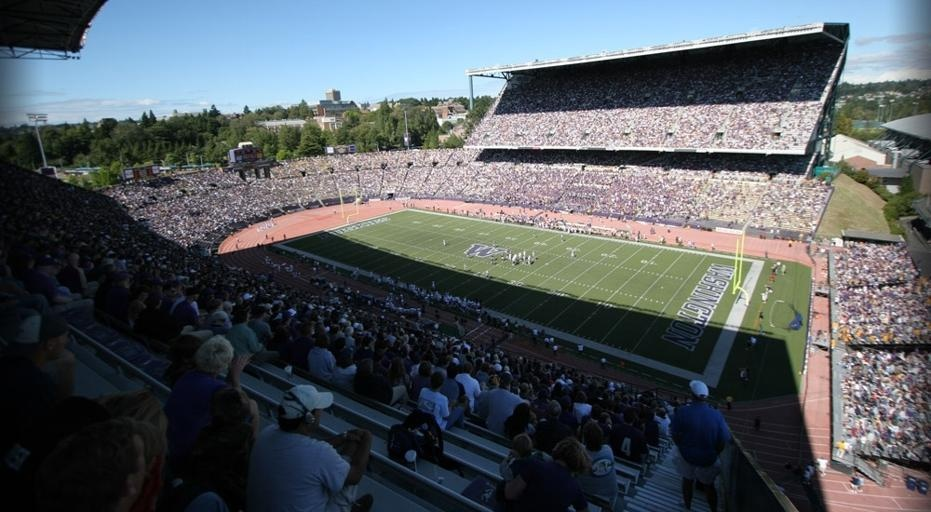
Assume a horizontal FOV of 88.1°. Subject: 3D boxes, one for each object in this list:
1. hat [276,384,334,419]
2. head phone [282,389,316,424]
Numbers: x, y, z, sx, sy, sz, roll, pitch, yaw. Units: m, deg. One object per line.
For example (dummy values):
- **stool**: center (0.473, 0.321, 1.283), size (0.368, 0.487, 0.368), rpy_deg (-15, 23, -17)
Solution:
- **hat**: center (-2.478, 2.174, 7.410), size (0.956, 0.421, 0.571), rpy_deg (7, 17, -38)
- **head phone**: center (-2.513, 2.233, 7.153), size (0.336, 0.227, 0.488), rpy_deg (19, 21, 31)
